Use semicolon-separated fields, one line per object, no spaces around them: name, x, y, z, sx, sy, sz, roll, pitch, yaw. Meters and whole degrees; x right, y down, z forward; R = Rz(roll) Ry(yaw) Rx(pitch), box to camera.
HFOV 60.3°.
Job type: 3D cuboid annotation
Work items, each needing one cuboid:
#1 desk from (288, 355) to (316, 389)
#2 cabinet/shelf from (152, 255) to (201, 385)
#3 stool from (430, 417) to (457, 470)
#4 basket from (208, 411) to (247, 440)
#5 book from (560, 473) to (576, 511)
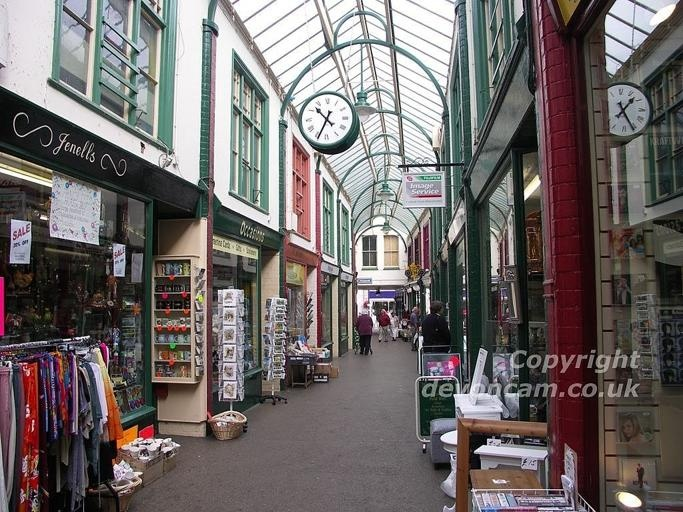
desk;-0.992;2.683;13.710;0.613;0.813;1.552;2;-11;-2
cabinet/shelf;-2.390;0.917;8.344;0.537;1.778;0.340;0;2;-16
stool;1.183;2.268;7.126;0.387;0.440;0.430;0;-2;22
basket;-1.636;2.436;8.535;0.319;0.236;0.430;-1;-8;3
book;1.461;1.518;3.773;0.053;0.187;0.157;-2;-8;6
